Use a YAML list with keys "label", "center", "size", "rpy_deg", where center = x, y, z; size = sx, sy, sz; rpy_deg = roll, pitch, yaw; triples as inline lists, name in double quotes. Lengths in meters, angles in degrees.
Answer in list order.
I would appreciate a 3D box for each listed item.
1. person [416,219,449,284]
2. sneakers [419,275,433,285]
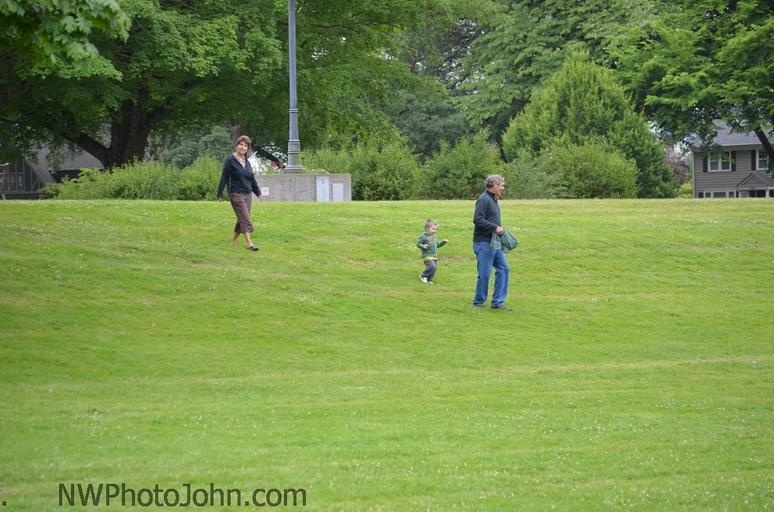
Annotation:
- label: "person"
  center: [1.513, -0.116, 62.596]
  size: [0.912, 2.211, 1.215]
  rpy_deg: [-1, 2, 1]
- label: "sneakers"
  center: [1.359, 0.865, 62.265]
  size: [0.542, 0.194, 0.197]
  rpy_deg: [24, 14, 20]
